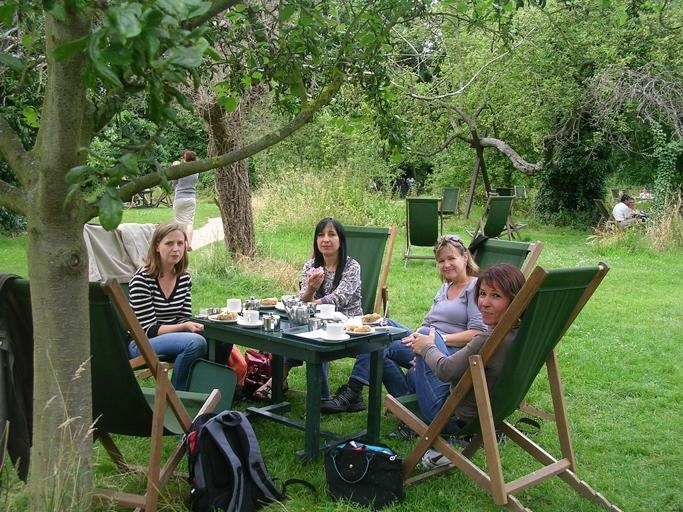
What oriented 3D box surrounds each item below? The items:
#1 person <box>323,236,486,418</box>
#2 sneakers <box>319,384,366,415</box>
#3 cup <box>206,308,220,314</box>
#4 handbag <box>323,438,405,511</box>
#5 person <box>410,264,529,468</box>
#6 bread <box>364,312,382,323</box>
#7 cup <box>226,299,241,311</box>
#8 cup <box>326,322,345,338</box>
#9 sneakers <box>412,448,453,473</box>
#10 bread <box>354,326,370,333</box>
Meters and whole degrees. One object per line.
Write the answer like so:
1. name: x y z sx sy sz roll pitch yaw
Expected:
1. person: 0.678 0.495 4.751 1.562 1.126 0.784 -4 2 -17
2. sneakers: 0.016 1.069 4.827 0.386 0.200 0.141 6 -10 -26
3. cup: -0.907 0.393 4.576 0.035 0.049 0.054 -1 1 -42
4. handbag: 0.132 1.226 3.593 0.493 0.357 0.313 0 -2 10
5. person: 0.699 0.679 3.686 0.432 1.308 0.765 0 6 -21
6. bread: 0.212 0.420 4.367 0.068 0.035 0.071 -1 8 31
7. cup: -0.759 0.342 4.525 0.083 0.064 0.082 1 -4 0
8. cup: -0.042 0.450 3.902 0.094 0.070 0.074 2 -1 6
9. sneakers: 0.566 1.270 3.993 0.287 0.137 0.120 -1 -4 13
10. bread: 0.138 0.457 4.043 0.094 0.032 0.069 3 5 -1
